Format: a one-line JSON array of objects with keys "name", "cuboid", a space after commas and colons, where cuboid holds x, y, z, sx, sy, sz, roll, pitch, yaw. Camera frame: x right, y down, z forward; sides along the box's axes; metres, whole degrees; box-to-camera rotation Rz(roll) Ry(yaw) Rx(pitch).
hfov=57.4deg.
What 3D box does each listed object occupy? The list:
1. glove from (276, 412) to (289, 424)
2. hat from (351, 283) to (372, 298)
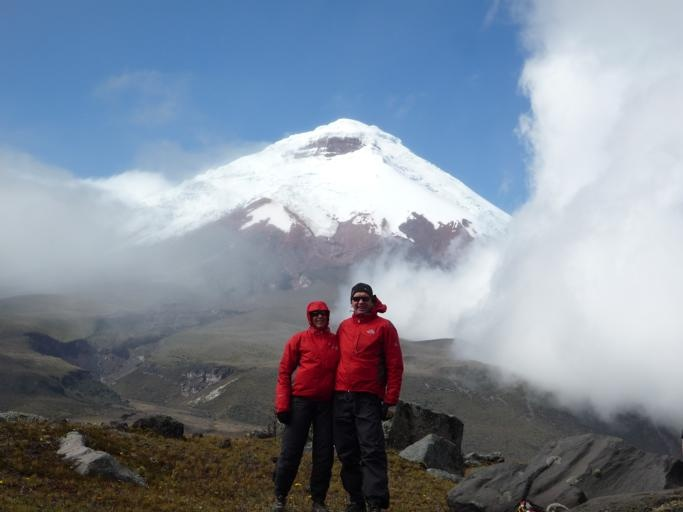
[{"name": "glove", "cuboid": [-2.035, 5.595, 21.633, 0.451, 0.334, 0.406, 24, -24, -2]}, {"name": "hat", "cuboid": [0.786, 1.179, 22.256, 0.551, 0.373, 0.568, -1, -2, 29]}]
